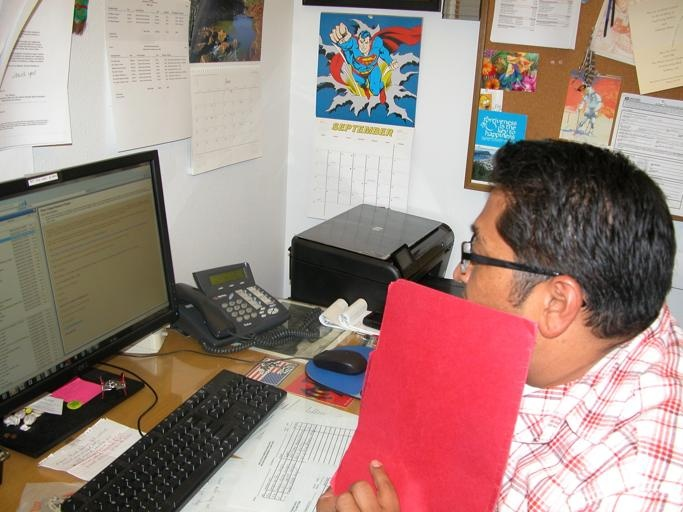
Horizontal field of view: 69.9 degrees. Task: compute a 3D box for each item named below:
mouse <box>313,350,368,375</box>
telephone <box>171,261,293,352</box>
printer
[{"bbox_3d":[0.006,0.270,1.294,0.114,0.029,0.063,6,20,23],"label":"mouse"},{"bbox_3d":[-0.330,0.144,1.478,0.253,0.135,0.302,24,22,30],"label":"telephone"},{"bbox_3d":[0.158,0.036,1.855,0.518,0.324,0.519,15,27,23],"label":"printer"}]
